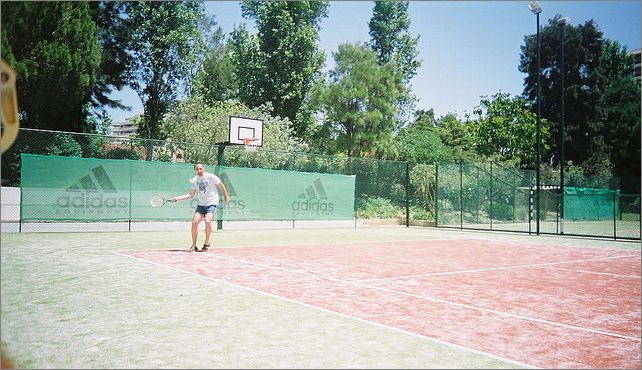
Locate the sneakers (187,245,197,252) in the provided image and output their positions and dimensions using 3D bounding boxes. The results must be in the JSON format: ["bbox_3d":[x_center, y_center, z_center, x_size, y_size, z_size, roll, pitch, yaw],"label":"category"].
[{"bbox_3d":[-4.351,2.170,15.778,0.145,0.181,0.414,5,-1,-40],"label":"sneakers"}]
